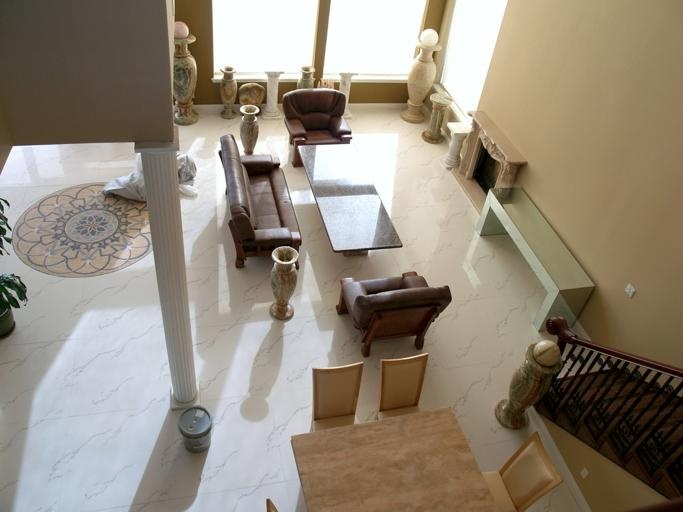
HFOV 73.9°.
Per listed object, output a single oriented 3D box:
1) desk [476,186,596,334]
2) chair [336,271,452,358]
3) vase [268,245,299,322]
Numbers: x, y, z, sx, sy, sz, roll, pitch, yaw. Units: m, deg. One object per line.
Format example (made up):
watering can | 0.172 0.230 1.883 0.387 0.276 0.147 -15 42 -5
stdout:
desk | 3.326 0.100 7.665 0.701 0.976 2.685 -7 55 -14
chair | 0.742 0.806 6.967 1.445 1.124 1.018 -4 27 -12
vase | -0.890 0.453 6.966 0.400 1.117 0.452 5 46 -4
